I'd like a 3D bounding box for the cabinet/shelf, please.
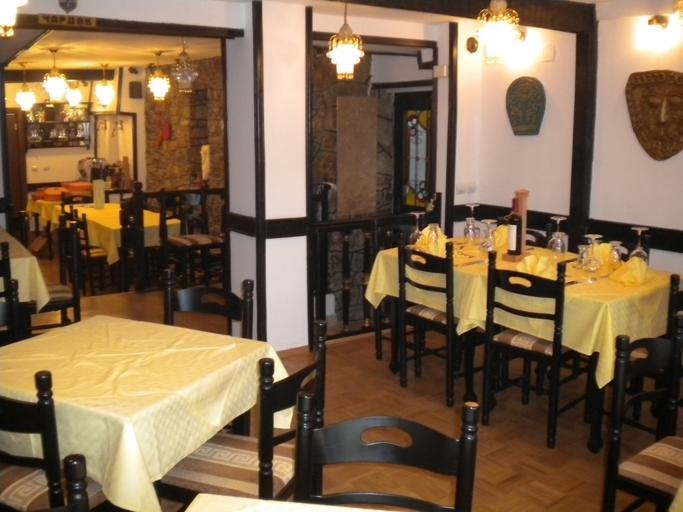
[{"bbox_3d":[-5.086,-2.314,10.832,0.970,0.744,0.326,-8,15,-35],"label":"cabinet/shelf"}]
